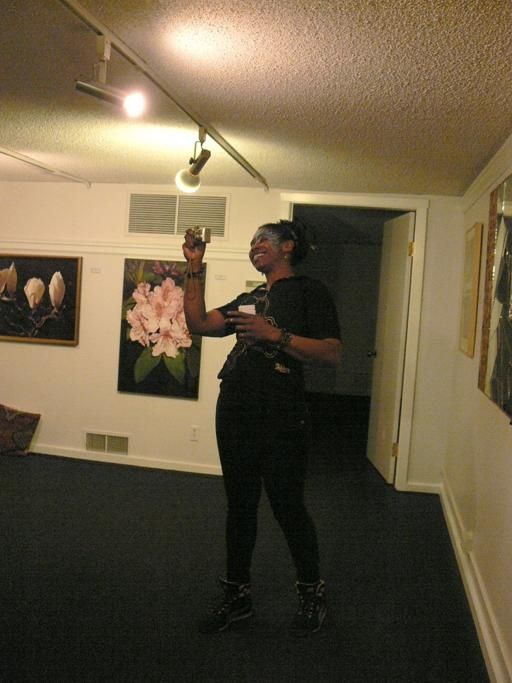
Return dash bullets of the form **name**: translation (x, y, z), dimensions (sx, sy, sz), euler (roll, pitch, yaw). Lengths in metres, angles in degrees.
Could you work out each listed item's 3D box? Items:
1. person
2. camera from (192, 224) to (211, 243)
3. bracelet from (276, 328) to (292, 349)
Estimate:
- **person**: translation (0.016, 0.195, 1.234), dimensions (0.341, 0.940, 0.263), euler (0, 6, -27)
- **camera**: translation (-0.118, -0.228, 1.136), dimensions (0.038, 0.038, 0.091), euler (2, 6, -7)
- **bracelet**: translation (0.059, -0.006, 1.112), dimensions (0.030, 0.035, 0.032), euler (1, -19, 6)
